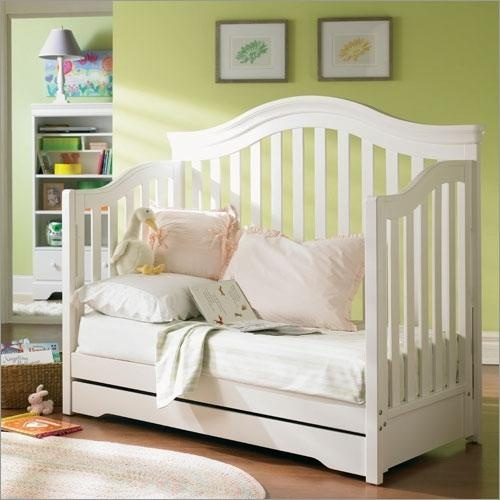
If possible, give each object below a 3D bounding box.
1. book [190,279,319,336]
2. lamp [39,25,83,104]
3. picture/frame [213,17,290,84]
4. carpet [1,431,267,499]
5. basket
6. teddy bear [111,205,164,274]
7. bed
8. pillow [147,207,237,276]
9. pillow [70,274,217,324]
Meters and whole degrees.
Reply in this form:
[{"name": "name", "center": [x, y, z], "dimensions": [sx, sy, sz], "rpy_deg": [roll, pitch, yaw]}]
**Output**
[{"name": "book", "center": [-0.025, 0.179, 2.060], "dimensions": [0.319, 0.110, 0.217], "rpy_deg": [3, 4, 44]}, {"name": "lamp", "center": [-1.451, -1.418, 4.371], "dimensions": [0.339, 0.514, 0.332], "rpy_deg": [6, 10, 27]}, {"name": "picture/frame", "center": [0.023, -1.071, 3.030], "dimensions": [0.384, 0.290, 0.018], "rpy_deg": [2, 1, 1]}, {"name": "carpet", "center": [-0.395, 0.639, 1.689], "dimensions": [0.895, 0.031, 0.441], "rpy_deg": [1, 3, 4]}, {"name": "basket", "center": [-0.870, 0.523, 2.268], "dimensions": [0.280, 0.180, 0.168], "rpy_deg": [2, -3, -29]}, {"name": "teddy bear", "center": [-0.477, -0.021, 2.383], "dimensions": [0.206, 0.338, 0.170], "rpy_deg": [5, 16, 5]}, {"name": "bed", "center": [0.044, 0.067, 2.197], "dimensions": [1.390, 1.175, 0.747], "rpy_deg": [3, 5, 37]}, {"name": "pillow", "center": [-0.234, -0.037, 2.507], "dimensions": [0.323, 0.305, 0.134], "rpy_deg": [6, -13, 0]}, {"name": "pillow", "center": [-0.400, 0.173, 2.119], "dimensions": [0.259, 0.077, 0.264], "rpy_deg": [5, 8, 28]}]
